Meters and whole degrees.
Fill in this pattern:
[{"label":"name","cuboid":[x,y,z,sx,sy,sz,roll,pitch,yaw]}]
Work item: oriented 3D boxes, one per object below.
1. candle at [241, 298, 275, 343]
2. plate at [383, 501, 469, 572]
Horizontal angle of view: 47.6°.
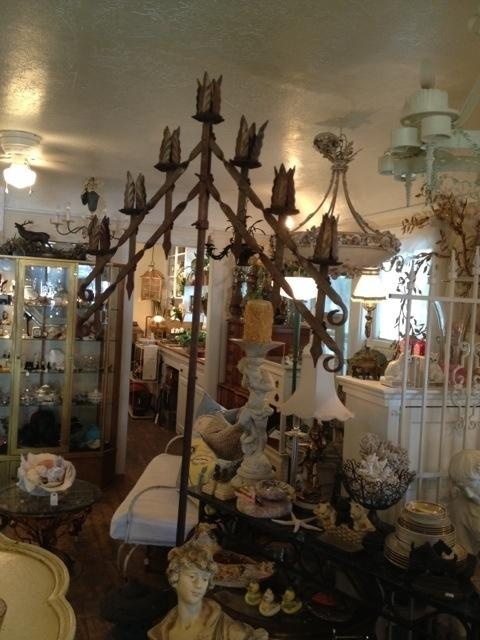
[{"label":"candle","cuboid":[0.078,0.005,2.299,0.118,0.161,0.290,3,-1,1]},{"label":"plate","cuboid":[0.667,0.780,1.998,0.243,0.126,0.232,1,-3,8]}]
